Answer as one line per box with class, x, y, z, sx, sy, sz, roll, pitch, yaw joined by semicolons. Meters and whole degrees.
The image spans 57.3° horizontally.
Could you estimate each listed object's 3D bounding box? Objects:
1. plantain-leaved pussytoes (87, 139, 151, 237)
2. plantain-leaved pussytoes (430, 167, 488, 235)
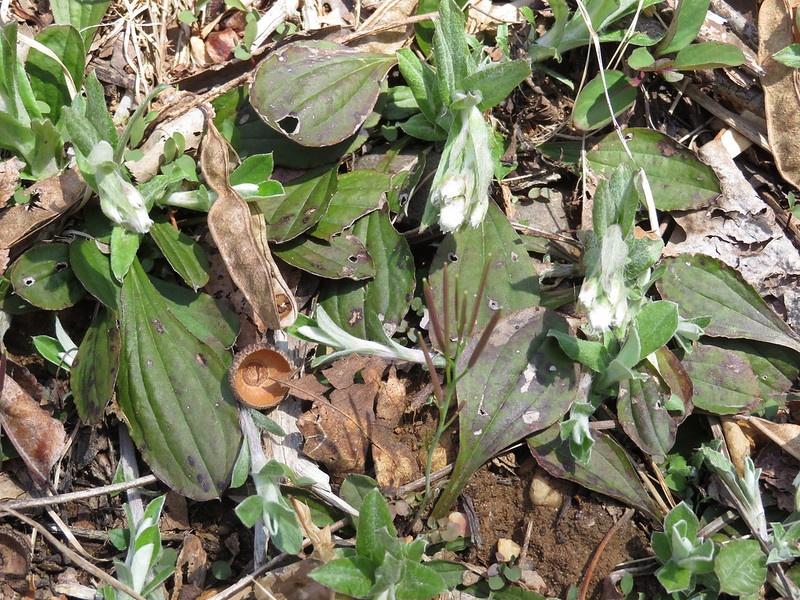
plantain-leaved pussytoes;-0.772;-0.302;2.026;0.135;0.071;0.245;-42;103;-23
plantain-leaved pussytoes;0.179;-0.265;2.089;0.130;0.138;0.180;8;54;5
